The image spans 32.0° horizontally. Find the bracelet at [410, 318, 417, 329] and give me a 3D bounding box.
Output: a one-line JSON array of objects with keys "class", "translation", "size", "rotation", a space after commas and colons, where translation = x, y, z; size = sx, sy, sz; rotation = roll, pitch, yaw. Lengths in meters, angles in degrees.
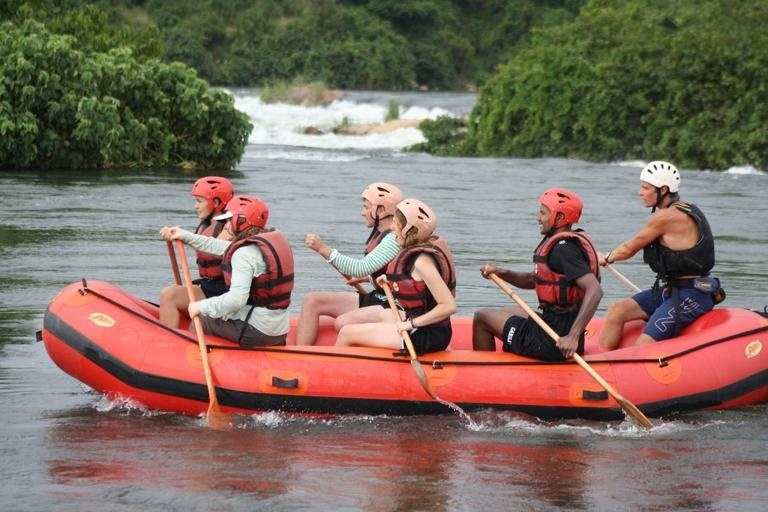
[{"class": "bracelet", "translation": [0.569, 1.348, 26.939], "size": [0.070, 0.152, 0.142], "rotation": [-20, -2, -9]}]

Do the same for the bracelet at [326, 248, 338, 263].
[{"class": "bracelet", "translation": [-1.102, -0.013, 27.341], "size": [0.122, 0.249, 0.258], "rotation": [31, -11, -19]}]
